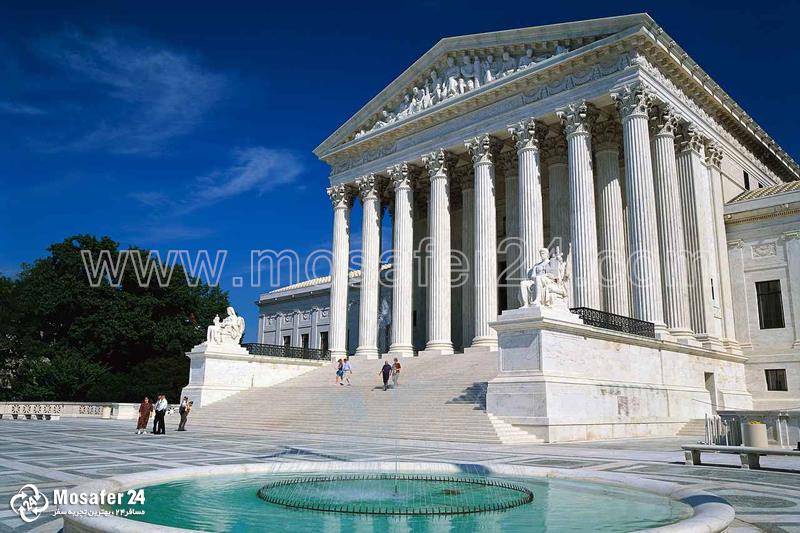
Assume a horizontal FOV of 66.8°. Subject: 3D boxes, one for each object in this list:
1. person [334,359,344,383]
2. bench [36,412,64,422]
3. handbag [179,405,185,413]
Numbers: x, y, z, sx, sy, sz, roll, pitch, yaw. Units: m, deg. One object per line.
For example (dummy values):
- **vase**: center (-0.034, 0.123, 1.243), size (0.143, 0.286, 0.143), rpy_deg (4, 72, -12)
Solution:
- **person**: center (-3.514, 6.027, 35.290), size (0.492, 1.411, 1.467), rpy_deg (2, -16, -11)
- **bench**: center (-22.637, 9.498, 38.778), size (1.514, 0.380, 1.661), rpy_deg (6, -16, -24)
- **handbag**: center (-10.481, 6.776, 29.113), size (0.388, 0.366, 0.209), rpy_deg (-6, -17, 18)
